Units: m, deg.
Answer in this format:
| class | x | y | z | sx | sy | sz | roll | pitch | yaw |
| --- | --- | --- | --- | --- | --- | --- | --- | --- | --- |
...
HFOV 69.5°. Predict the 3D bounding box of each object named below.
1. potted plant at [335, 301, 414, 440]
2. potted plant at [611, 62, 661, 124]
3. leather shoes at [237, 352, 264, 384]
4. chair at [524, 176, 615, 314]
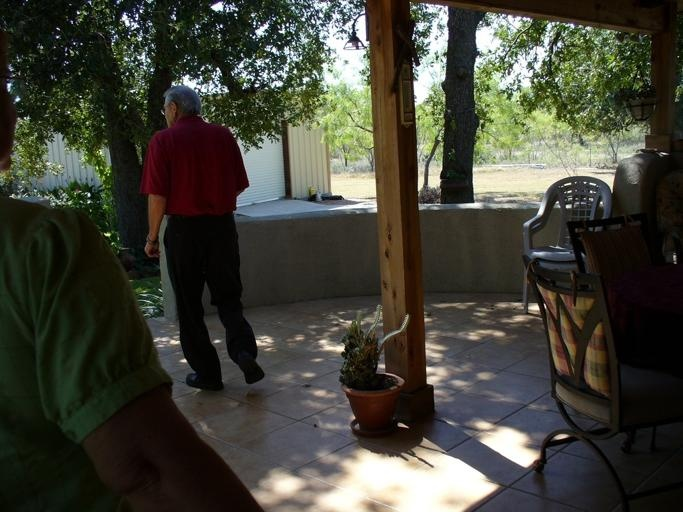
| class | x | y | z | sx | sy | sz | roll | pitch | yaw |
| --- | --- | --- | --- | --- | --- | --- | --- | --- | --- |
| potted plant | 0.249 | 0.775 | 3.446 | 0.446 | 0.852 | 0.520 | -1 | 2 | 22 |
| potted plant | 4.080 | -2.205 | 6.818 | 0.409 | 0.668 | 0.791 | 2 | 11 | 24 |
| leather shoes | -0.745 | 0.931 | 4.015 | 0.173 | 0.266 | 0.113 | -39 | -16 | -3 |
| chair | 2.561 | -0.083 | 5.740 | 0.916 | 1.490 | 1.012 | 0 | 15 | 38 |
